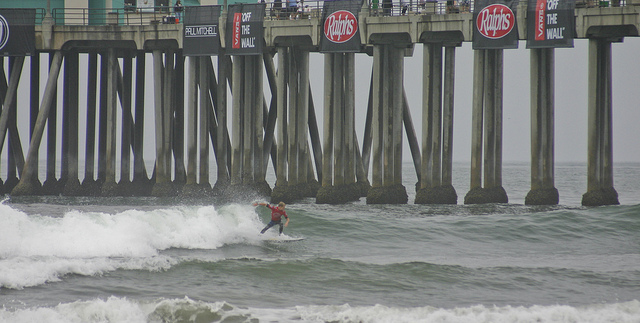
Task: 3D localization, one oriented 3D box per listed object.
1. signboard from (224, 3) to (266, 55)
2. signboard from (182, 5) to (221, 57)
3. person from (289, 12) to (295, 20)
[{"bbox_3d":[-5.937,-10.477,124.946,4.442,5.044,0.407,2,-5,14],"label":"signboard"},{"bbox_3d":[-9.645,-10.417,125.974,3.072,4.094,1.054,0,7,-3],"label":"signboard"},{"bbox_3d":[-2.125,-11.553,125.223,0.507,0.872,0.516,2,1,25],"label":"person"}]
